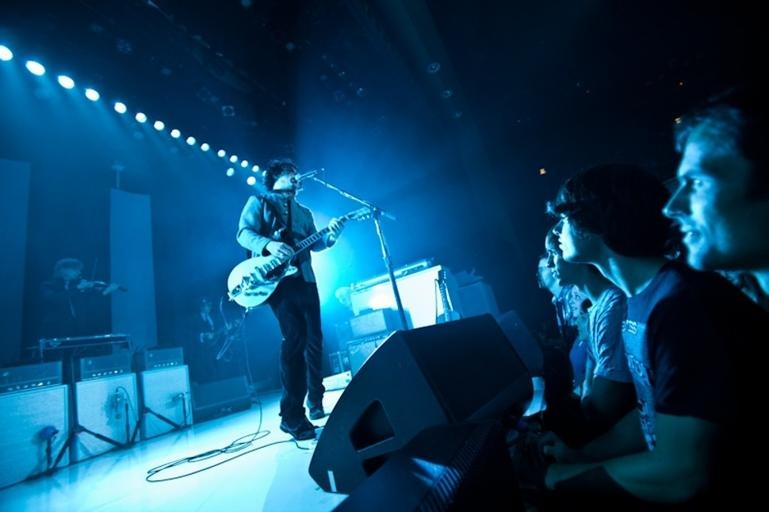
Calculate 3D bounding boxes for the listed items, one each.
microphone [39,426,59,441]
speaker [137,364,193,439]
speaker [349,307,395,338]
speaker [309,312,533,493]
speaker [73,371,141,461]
[{"bbox_3d":[-3.239,1.698,5.094,0.039,0.118,0.117,-42,-8,-48],"label":"microphone"},{"bbox_3d":[-2.646,1.681,6.193,0.383,0.713,0.738,-13,-13,19],"label":"speaker"},{"bbox_3d":[-0.156,0.890,7.092,0.562,0.401,0.272,-9,-15,20],"label":"speaker"},{"bbox_3d":[0.362,1.124,4.332,1.323,1.232,1.785,-7,-2,31],"label":"speaker"},{"bbox_3d":[-3.080,1.727,5.599,0.429,0.787,0.808,-10,-6,24],"label":"speaker"}]
